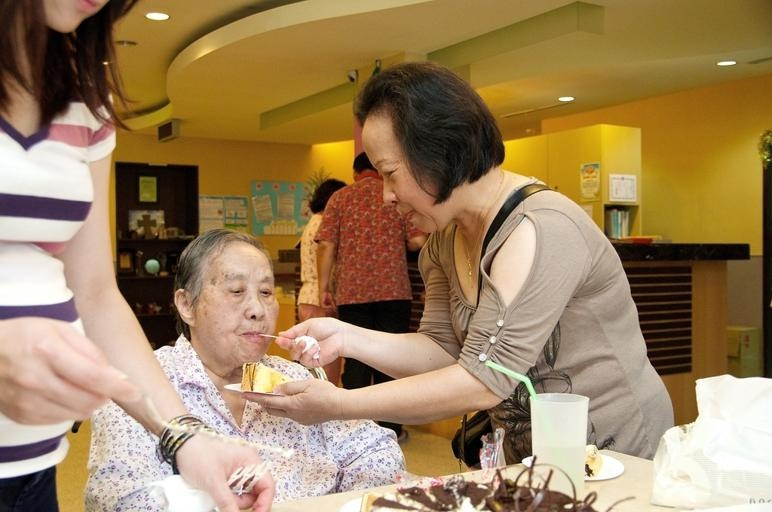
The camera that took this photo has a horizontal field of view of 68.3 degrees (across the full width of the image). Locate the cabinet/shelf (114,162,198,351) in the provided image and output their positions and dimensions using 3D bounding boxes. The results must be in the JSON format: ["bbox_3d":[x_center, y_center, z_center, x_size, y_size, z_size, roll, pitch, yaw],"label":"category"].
[{"bbox_3d":[-3.735,-0.131,9.258,1.255,2.950,0.373,1,-13,-30],"label":"cabinet/shelf"}]

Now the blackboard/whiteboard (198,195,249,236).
[{"bbox_3d":[-2.876,-0.744,10.449,0.918,0.656,0.501,1,2,8],"label":"blackboard/whiteboard"}]

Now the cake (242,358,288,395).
[{"bbox_3d":[-0.401,0.401,1.899,0.124,0.052,0.103,11,-4,-26],"label":"cake"}]

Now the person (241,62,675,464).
[{"bbox_3d":[0.313,0.023,1.781,0.997,1.258,0.767,0,-1,27],"label":"person"}]
